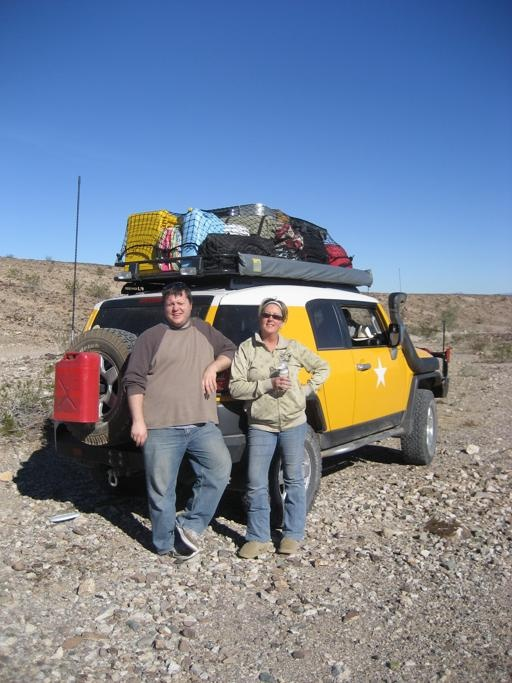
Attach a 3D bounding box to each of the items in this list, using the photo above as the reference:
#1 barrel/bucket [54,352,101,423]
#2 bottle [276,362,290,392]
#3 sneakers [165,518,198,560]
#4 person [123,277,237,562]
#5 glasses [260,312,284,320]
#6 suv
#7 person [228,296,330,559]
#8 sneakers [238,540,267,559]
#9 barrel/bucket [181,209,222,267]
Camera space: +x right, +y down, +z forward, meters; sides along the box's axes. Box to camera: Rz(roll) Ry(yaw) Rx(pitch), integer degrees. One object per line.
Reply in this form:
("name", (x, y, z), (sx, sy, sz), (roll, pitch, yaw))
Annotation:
("barrel/bucket", (-1.228, 0.301, 3.509), (0.332, 0.457, 0.160), (1, -1, 19))
("bottle", (0.169, 0.221, 3.288), (0.072, 0.160, 0.102), (1, -1, -2))
("sneakers", (-0.476, 1.347, 3.475), (0.141, 0.115, 0.274), (9, -11, -41))
("person", (-0.489, 0.529, 3.396), (0.703, 1.783, 0.361), (1, -1, -9))
("glasses", (0.117, -0.164, 3.490), (0.147, 0.047, 0.071), (1, -1, -4))
("suv", (-0.175, -0.043, 5.476), (2.306, 2.592, 4.525), (3, 5, 37))
("person", (0.128, 0.600, 3.634), (0.525, 1.761, 0.666), (1, -1, 24))
("sneakers", (-0.021, 1.407, 3.551), (0.100, 0.078, 0.202), (-4, -13, 37))
("barrel/bucket", (-0.467, -0.952, 4.586), (0.383, 0.432, 0.459), (1, -1, -6))
